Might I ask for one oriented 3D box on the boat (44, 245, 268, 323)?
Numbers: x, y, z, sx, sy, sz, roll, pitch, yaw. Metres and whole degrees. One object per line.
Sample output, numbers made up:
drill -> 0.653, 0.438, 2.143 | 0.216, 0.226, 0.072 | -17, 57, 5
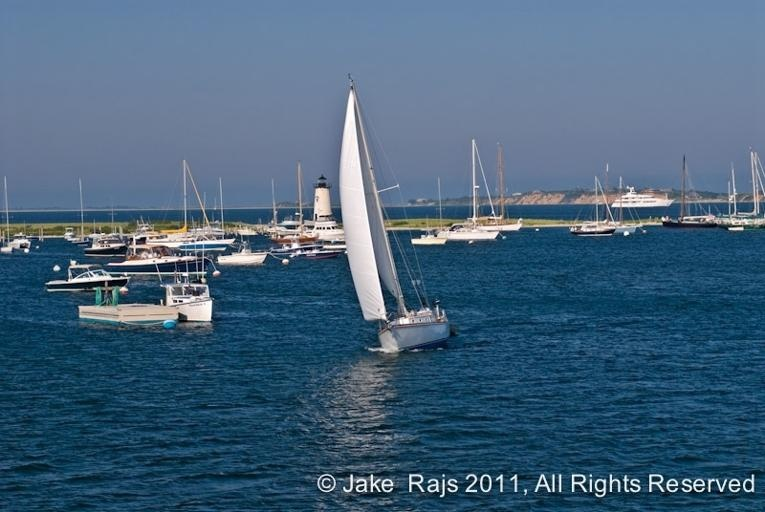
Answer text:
boat -> -20.215, 2.448, 106.124 | 12.964, 3.246, 4.771 | -7, -16, 18
